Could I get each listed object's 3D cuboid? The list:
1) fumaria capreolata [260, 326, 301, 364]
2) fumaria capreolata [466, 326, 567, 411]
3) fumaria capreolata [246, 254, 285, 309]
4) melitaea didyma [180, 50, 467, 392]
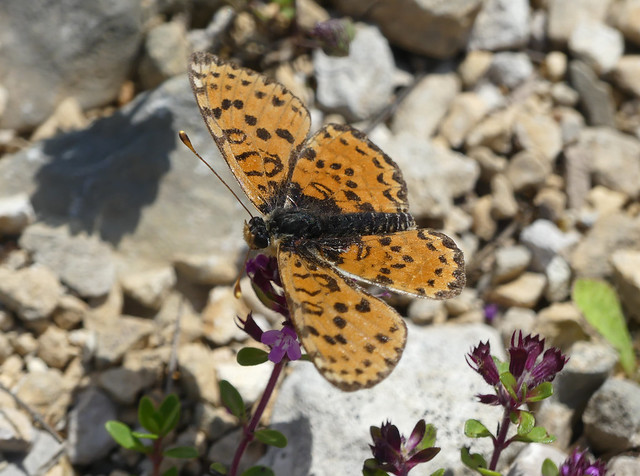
[{"bbox_3d":[-0.289,0.727,8.072,0.256,0.288,0.259,-1,100,-2],"label":"fumaria capreolata"},{"bbox_3d":[1.356,0.918,8.244,0.625,0.600,0.627,0,105,-9],"label":"fumaria capreolata"},{"bbox_3d":[-0.419,0.311,8.269,0.162,0.337,0.355,-41,83,30],"label":"fumaria capreolata"},{"bbox_3d":[0.035,-0.083,8.341,0.647,1.591,2.700,-47,123,-43],"label":"melitaea didyma"}]
